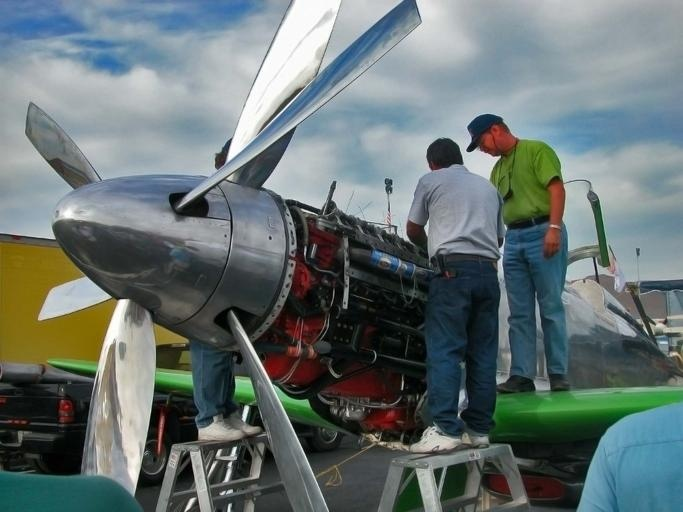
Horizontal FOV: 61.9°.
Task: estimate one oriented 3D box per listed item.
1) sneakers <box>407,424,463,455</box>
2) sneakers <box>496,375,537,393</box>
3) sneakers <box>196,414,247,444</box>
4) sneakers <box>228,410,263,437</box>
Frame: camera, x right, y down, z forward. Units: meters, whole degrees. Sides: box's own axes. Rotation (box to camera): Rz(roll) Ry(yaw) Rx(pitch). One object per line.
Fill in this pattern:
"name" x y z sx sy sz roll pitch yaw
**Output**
"sneakers" 0.533 1.080 3.331 0.383 0.176 0.125 -3 -14 1
"sneakers" 1.262 0.940 4.175 0.324 0.139 0.110 3 -10 -3
"sneakers" -0.760 1.098 3.635 0.313 0.164 0.129 2 -3 1
"sneakers" -0.683 1.096 3.738 0.304 0.128 0.097 11 6 25
